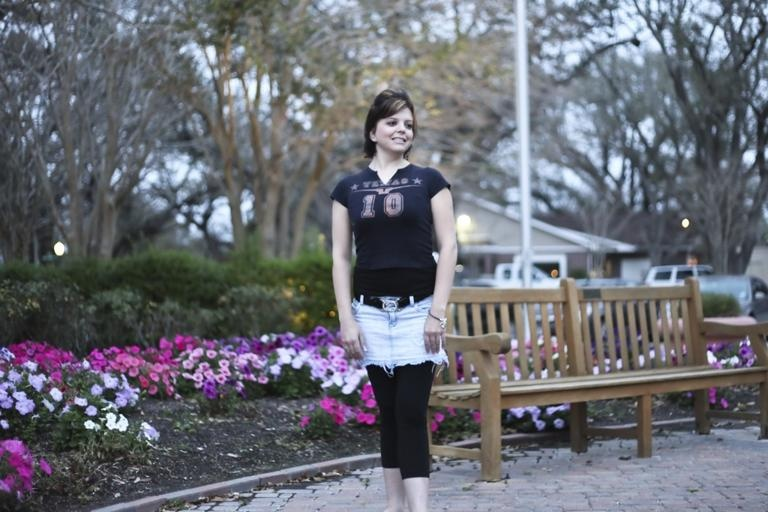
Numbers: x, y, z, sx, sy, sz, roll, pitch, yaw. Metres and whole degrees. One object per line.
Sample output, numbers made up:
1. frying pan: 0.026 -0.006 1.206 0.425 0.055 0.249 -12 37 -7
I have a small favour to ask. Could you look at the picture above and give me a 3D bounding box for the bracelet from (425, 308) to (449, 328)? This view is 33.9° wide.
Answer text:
1. bracelet: 0.493 0.585 11.462 0.162 0.095 0.144 33 -6 9
